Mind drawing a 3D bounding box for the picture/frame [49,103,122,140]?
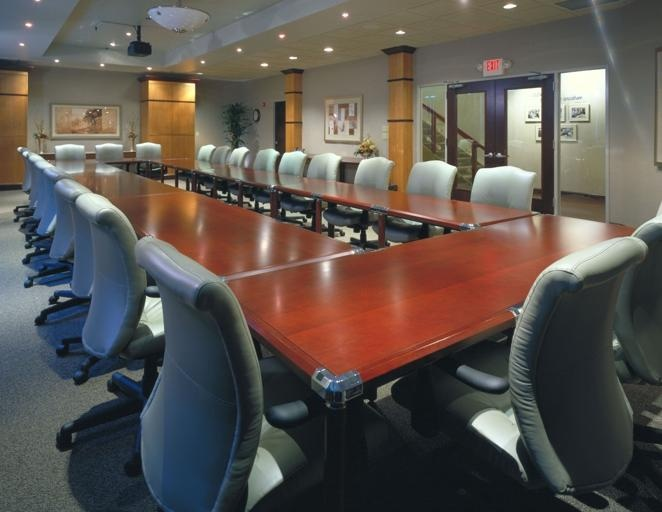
[{"bbox_3d":[-6.180,-3.398,12.249,1.587,0.806,0.225,-8,14,-30],"label":"picture/frame"}]

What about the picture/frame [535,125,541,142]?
[{"bbox_3d":[2.975,-1.762,6.959,0.033,0.245,0.122,-6,12,-22],"label":"picture/frame"}]

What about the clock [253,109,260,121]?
[{"bbox_3d":[-2.080,-3.943,13.566,0.071,0.373,0.415,-7,14,-29],"label":"clock"}]

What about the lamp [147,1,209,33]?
[{"bbox_3d":[-1.972,-3.117,6.271,0.683,0.302,0.574,9,16,39],"label":"lamp"}]

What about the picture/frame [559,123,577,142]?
[{"bbox_3d":[3.447,-1.771,7.029,0.247,0.208,0.249,-12,12,-37],"label":"picture/frame"}]

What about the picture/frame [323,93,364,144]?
[{"bbox_3d":[0.285,-2.916,10.241,0.044,1.078,1.138,-7,13,-35],"label":"picture/frame"}]

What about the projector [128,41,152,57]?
[{"bbox_3d":[-3.325,-3.553,8.381,0.369,0.288,0.409,10,15,36],"label":"projector"}]

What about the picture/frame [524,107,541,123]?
[{"bbox_3d":[2.899,-2.024,6.963,0.021,0.217,0.207,-9,16,-35],"label":"picture/frame"}]
